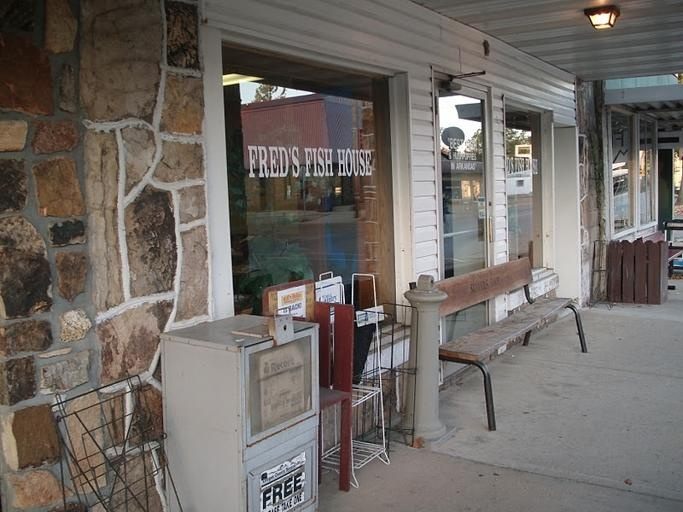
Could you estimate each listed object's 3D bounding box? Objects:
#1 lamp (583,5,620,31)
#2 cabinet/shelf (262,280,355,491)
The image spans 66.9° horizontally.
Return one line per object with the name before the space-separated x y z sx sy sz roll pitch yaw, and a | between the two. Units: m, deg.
lamp | 2.868 -2.619 5.673 0.306 0.169 0.230 6 9 34
cabinet/shelf | -0.199 1.041 4.232 0.584 1.667 0.529 6 -10 -14
